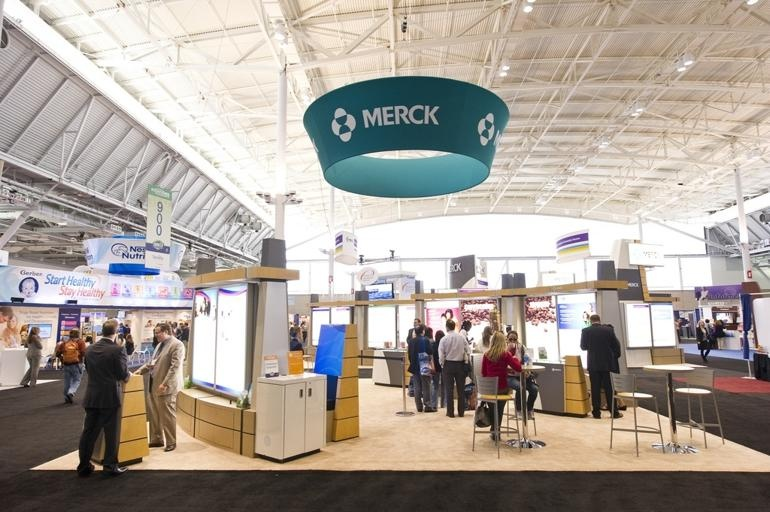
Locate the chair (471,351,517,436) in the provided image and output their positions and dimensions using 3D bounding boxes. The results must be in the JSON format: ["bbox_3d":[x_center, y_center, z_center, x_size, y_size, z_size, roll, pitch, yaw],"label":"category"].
[{"bbox_3d":[1.950,2.206,7.857,0.726,1.593,0.505,-2,-8,37],"label":"chair"}]

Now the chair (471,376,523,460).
[{"bbox_3d":[1.905,2.539,7.561,0.710,1.121,0.680,-9,-13,11],"label":"chair"}]

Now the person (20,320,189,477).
[{"bbox_3d":[-3.941,2.087,7.187,0.567,2.216,1.278,-1,-1,38],"label":"person"}]

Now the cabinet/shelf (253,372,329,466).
[{"bbox_3d":[-1.516,2.562,7.247,0.734,1.333,1.201,-9,-11,41],"label":"cabinet/shelf"}]

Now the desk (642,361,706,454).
[{"bbox_3d":[4.702,2.488,7.626,0.828,1.262,0.789,7,-17,-9],"label":"desk"}]

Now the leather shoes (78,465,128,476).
[{"bbox_3d":[-4.144,3.144,6.802,0.481,0.192,0.158,0,-8,-4],"label":"leather shoes"}]
